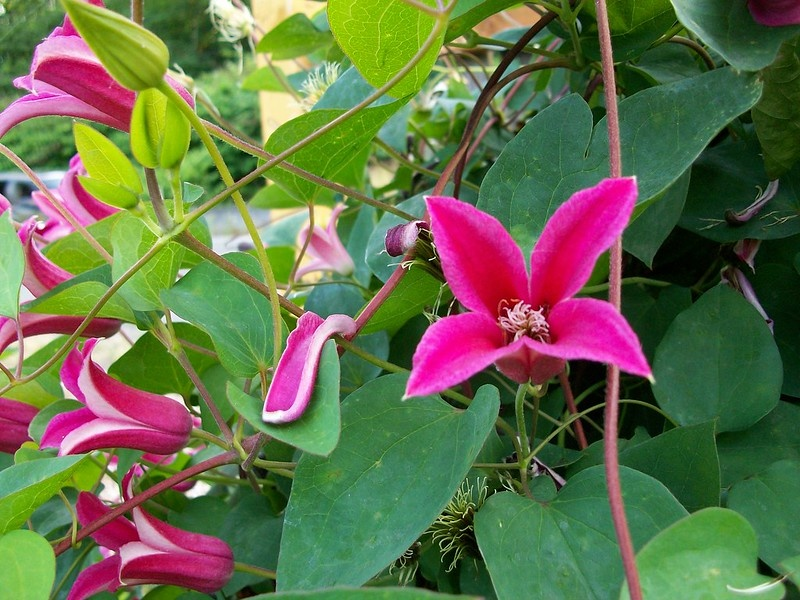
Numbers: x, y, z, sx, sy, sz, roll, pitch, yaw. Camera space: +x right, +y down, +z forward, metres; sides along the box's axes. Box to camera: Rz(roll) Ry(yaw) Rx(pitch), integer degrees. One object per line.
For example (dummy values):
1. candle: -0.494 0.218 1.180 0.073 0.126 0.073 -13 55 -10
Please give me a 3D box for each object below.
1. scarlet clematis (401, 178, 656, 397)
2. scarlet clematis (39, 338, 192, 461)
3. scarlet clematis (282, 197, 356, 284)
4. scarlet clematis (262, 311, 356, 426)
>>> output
1. scarlet clematis: 0.140 0.036 0.733 0.192 0.130 0.229 -27 49 2
2. scarlet clematis: -0.288 0.121 0.844 0.097 0.151 0.122 110 172 -53
3. scarlet clematis: -0.114 -0.109 1.271 0.132 0.076 0.138 18 71 49
4. scarlet clematis: -0.087 0.065 0.721 0.059 0.028 0.108 5 71 27
